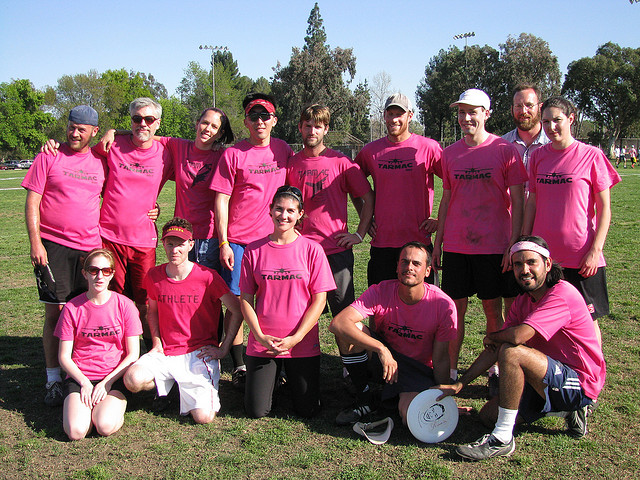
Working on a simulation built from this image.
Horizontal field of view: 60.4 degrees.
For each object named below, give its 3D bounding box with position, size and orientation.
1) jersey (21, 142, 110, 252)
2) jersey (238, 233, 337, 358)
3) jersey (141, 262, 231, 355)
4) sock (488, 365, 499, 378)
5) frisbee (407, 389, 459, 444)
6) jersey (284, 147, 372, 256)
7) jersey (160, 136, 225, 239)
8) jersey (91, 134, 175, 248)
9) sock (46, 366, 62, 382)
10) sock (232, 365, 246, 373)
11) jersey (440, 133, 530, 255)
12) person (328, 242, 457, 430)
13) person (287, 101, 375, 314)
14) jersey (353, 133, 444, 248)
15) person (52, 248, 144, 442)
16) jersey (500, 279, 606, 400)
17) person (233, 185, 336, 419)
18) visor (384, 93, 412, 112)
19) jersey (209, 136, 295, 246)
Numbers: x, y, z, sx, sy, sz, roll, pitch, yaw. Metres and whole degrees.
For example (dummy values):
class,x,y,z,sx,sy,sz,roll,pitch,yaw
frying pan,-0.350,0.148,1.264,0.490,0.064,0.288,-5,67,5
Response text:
class,x,y,z,sx,sy,sz,roll,pitch,yaw
jersey,-3.256,-0.531,7.022,1.164,1.317,0.603,8,0,-41
jersey,-0.427,0.606,6.533,1.276,1.806,0.599,1,-1,-1
jersey,-1.731,0.922,6.836,1.045,1.211,0.636,1,1,-2
sock,2.215,1.617,6.969,0.131,0.129,0.225,2,11,14
frisbee,1.222,1.885,6.049,0.515,0.554,0.163,-11,30,45
jersey,0.055,-0.503,7.053,1.201,1.600,0.647,-2,-1,-5
jersey,-1.726,-0.852,7.563,1.022,1.229,0.445,2,42,-23
jersey,-2.558,-0.657,7.263,1.133,1.319,0.515,10,2,-27
sock,-3.372,1.672,6.849,0.162,0.265,0.159,-3,-3,36
sock,-1.084,1.686,7.191,0.189,0.094,0.074,-22,-8,2
jersey,2.036,-0.518,6.806,1.150,1.586,0.693,4,10,31
person,0.939,1.162,6.492,1.361,2.218,1.135,3,-3,15
person,-0.020,-0.056,7.376,1.134,3.441,0.993,11,28,30
jersey,1.033,-0.679,7.374,1.158,1.544,0.605,2,23,15
person,-2.619,1.152,6.358,0.932,2.052,0.752,0,2,-16
jersey,2.726,1.071,6.495,1.095,1.552,1.076,-1,-1,-6
person,-0.435,0.733,6.499,1.072,2.704,0.453,0,2,-11
visor,0.973,-1.738,6.987,0.323,0.215,0.308,1,3,6
jersey,-0.879,-0.590,6.999,1.179,1.425,0.473,1,3,-22
